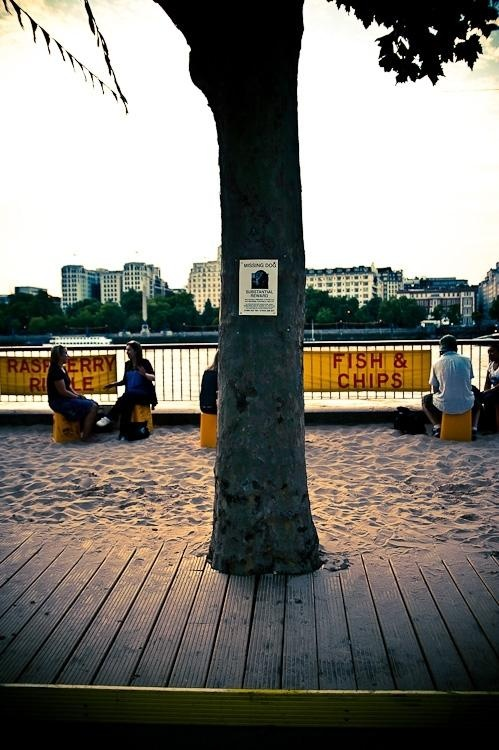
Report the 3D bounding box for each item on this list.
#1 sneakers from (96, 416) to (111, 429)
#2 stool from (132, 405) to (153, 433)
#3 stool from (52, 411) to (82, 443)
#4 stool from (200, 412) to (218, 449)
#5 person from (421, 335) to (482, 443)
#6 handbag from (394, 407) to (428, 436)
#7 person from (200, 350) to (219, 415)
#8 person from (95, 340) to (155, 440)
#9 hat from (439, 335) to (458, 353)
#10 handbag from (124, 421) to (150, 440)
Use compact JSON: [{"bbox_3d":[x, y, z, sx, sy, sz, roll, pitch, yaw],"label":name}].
[{"bbox_3d":[-2.446,0.792,10.175,0.132,0.121,0.274,8,6,5],"label":"sneakers"},{"bbox_3d":[-1.766,0.706,9.992,0.352,0.501,0.362,-1,1,-24],"label":"stool"},{"bbox_3d":[-2.890,0.818,9.597,0.403,0.457,0.152,-3,2,-21],"label":"stool"},{"bbox_3d":[-0.610,0.817,8.947,0.217,0.482,0.360,-2,3,-10],"label":"stool"},{"bbox_3d":[3.179,0.166,9.450,0.845,1.483,0.831,1,-11,-3],"label":"person"},{"bbox_3d":[2.591,0.726,9.792,0.387,0.407,0.388,1,3,34],"label":"handbag"},{"bbox_3d":[-0.624,0.184,9.162,0.246,0.789,0.437,-2,2,-11],"label":"person"},{"bbox_3d":[-2.020,0.214,10.100,0.731,1.732,0.969,-8,-13,21],"label":"person"},{"bbox_3d":[3.116,-0.491,9.435,0.200,0.313,0.289,-2,1,5],"label":"hat"},{"bbox_3d":[-1.799,0.893,9.680,0.376,0.264,0.304,-3,3,-17],"label":"handbag"}]
